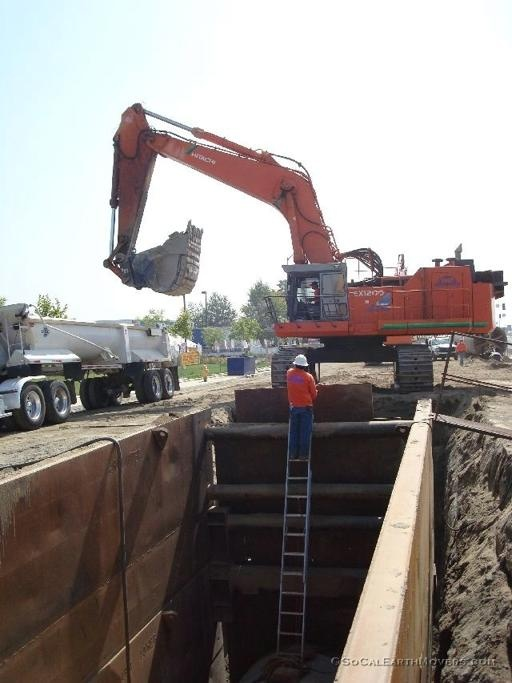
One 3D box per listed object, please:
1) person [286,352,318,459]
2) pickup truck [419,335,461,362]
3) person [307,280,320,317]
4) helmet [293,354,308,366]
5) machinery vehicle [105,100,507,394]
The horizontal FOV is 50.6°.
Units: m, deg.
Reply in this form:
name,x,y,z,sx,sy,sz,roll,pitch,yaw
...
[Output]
name,x,y,z,sx,sy,sz,roll,pitch,yaw
person,0.633,1.004,7.545,0.388,1.325,0.239,0,1,37
pickup truck,7.608,0.296,22.141,1.318,1.221,2.467,-1,-1,-4
person,1.500,-1.061,13.681,0.373,0.950,0.167,0,1,40
helmet,0.620,0.264,7.553,0.155,0.120,0.221,6,-3,8
machinery vehicle,0.994,-2.676,14.092,9.378,7.755,2.588,-1,1,23
